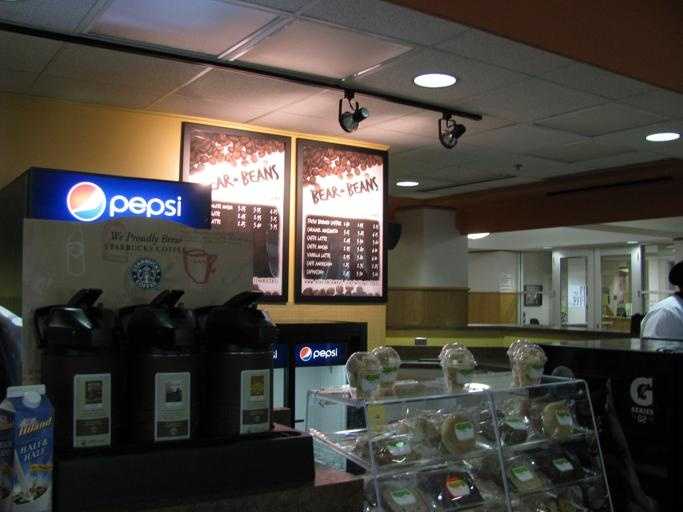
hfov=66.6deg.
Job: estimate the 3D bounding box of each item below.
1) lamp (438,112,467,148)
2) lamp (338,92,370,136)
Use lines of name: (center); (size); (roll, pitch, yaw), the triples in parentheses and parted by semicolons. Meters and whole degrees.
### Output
lamp: (0.886, -1.011, 4.162); (0.166, 0.297, 0.177); (-2, 0, -28)
lamp: (0.092, -1.089, 3.933); (0.193, 0.378, 0.217); (-12, -12, 41)
